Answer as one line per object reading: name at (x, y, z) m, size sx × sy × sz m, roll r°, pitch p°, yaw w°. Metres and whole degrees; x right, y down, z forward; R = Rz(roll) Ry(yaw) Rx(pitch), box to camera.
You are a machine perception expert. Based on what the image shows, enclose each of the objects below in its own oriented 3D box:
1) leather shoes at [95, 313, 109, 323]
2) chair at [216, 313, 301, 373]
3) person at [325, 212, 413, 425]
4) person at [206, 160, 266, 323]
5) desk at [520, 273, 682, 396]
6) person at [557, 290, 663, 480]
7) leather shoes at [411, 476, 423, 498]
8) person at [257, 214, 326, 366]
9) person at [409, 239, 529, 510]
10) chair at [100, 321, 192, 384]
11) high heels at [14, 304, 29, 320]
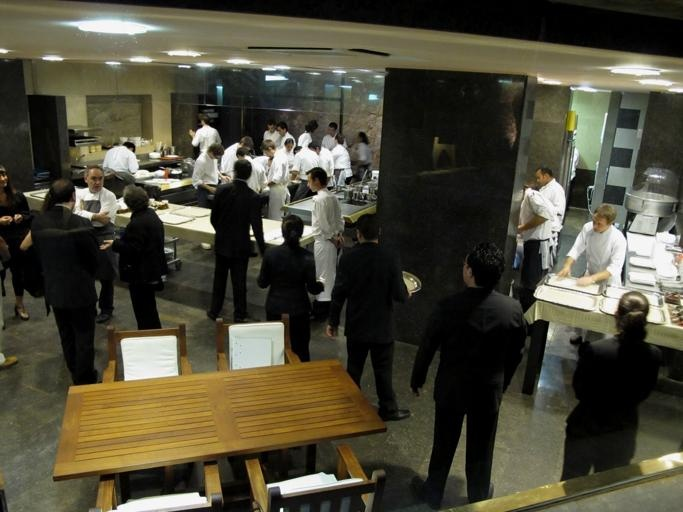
leather shoes at (-2.534, 0.664, 5.589) m, size 0.058 × 0.061 × 0.156 m, roll -1°, pitch 2°, yaw -2°
chair at (-0.591, 0.604, 3.797) m, size 0.470 × 0.604 × 0.425 m, roll -7°, pitch 39°, yaw -12°
person at (0.265, 0.498, 4.072) m, size 0.743 × 1.596 × 0.427 m, roll 2°, pitch 16°, yaw -1°
person at (-1.107, -0.129, 5.566) m, size 0.698 × 1.753 × 0.341 m, roll 10°, pitch 17°, yaw 36°
desk at (2.068, 0.611, 4.372) m, size 1.092 × 0.673 × 0.696 m, roll 11°, pitch 34°, yaw 21°
person at (1.700, 0.926, 3.363) m, size 0.449 × 1.489 × 0.512 m, roll 5°, pitch 15°, yaw 23°
leather shoes at (0.523, 1.586, 3.626) m, size 0.058 × 0.112 × 0.116 m, roll 3°, pitch 51°, yaw 3°
person at (-0.430, 0.380, 4.458) m, size 0.516 × 1.447 × 0.458 m, roll 10°, pitch 26°, yaw 12°
person at (0.763, 0.812, 3.247) m, size 0.643 × 1.852 × 0.365 m, roll 3°, pitch 14°, yaw 13°
chair at (-1.404, 0.702, 3.780) m, size 0.433 × 0.577 × 0.424 m, roll -10°, pitch 37°, yaw -16°
high heels at (-3.330, 0.584, 5.497) m, size 0.097 × 0.116 × 0.281 m, roll -31°, pitch 21°, yaw -32°
